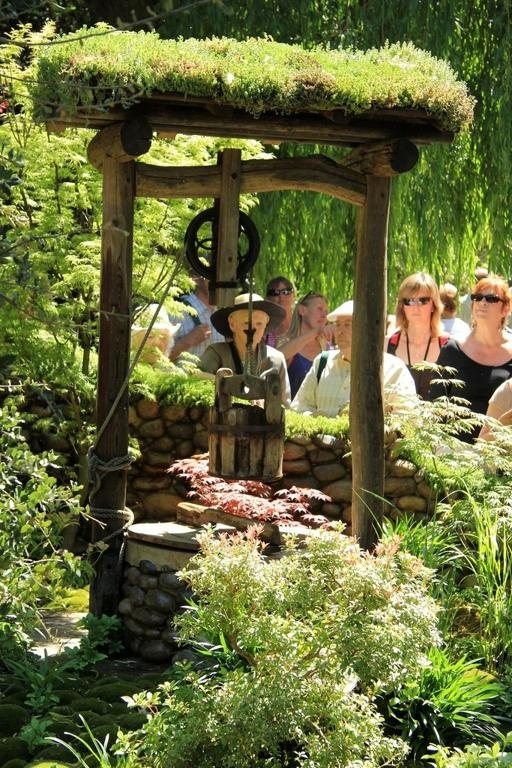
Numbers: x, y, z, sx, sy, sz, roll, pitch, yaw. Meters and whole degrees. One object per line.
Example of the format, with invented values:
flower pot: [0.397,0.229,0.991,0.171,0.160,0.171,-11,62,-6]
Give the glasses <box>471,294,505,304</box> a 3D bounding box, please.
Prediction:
glasses: [1.396,-0.516,5.575,0.186,0.056,0.072,6,6,11]

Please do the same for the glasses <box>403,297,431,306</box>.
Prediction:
glasses: [1.025,-0.529,5.910,0.165,0.072,0.100,6,6,14]

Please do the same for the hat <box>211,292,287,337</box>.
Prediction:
hat: [-0.037,-0.385,5.006,0.382,0.131,0.381,5,-24,-11]

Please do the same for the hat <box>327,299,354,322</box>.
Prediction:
hat: [0.530,-0.465,5.822,0.175,0.089,0.126,9,8,16]
